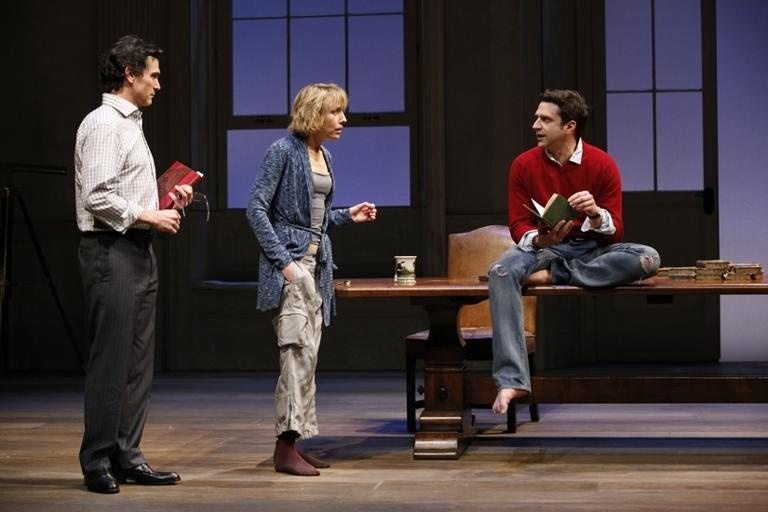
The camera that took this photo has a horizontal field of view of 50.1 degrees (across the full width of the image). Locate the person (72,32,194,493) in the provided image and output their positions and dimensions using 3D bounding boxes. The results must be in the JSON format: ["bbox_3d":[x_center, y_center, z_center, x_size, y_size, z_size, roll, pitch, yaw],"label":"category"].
[{"bbox_3d":[-1.322,0.034,4.179,0.520,2.282,0.332,-3,6,-24],"label":"person"}]

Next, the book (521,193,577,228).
[{"bbox_3d":[0.906,-0.199,4.387,0.181,0.099,0.226,14,-15,39],"label":"book"}]

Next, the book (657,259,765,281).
[{"bbox_3d":[1.798,0.078,4.476,0.474,0.095,0.106,1,6,19],"label":"book"}]

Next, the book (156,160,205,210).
[{"bbox_3d":[-1.058,-0.357,4.344,0.247,0.251,0.060,42,-4,23],"label":"book"}]

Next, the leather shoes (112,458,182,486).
[{"bbox_3d":[-1.229,1.129,4.287,0.375,0.149,0.132,1,-6,-2],"label":"leather shoes"}]

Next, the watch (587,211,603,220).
[{"bbox_3d":[1.156,-0.219,4.453,0.041,0.028,0.048,0,-5,-16],"label":"watch"}]

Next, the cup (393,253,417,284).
[{"bbox_3d":[0.114,0.080,4.717,0.135,0.153,0.143,2,-1,0],"label":"cup"}]

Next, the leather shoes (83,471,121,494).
[{"bbox_3d":[-1.414,1.138,4.116,0.223,0.104,0.079,1,-1,26],"label":"leather shoes"}]

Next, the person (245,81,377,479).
[{"bbox_3d":[-0.448,0.109,4.428,0.380,2.045,0.463,2,6,33],"label":"person"}]

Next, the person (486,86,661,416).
[{"bbox_3d":[0.981,-0.094,4.445,0.935,1.669,1.214,2,5,40],"label":"person"}]
